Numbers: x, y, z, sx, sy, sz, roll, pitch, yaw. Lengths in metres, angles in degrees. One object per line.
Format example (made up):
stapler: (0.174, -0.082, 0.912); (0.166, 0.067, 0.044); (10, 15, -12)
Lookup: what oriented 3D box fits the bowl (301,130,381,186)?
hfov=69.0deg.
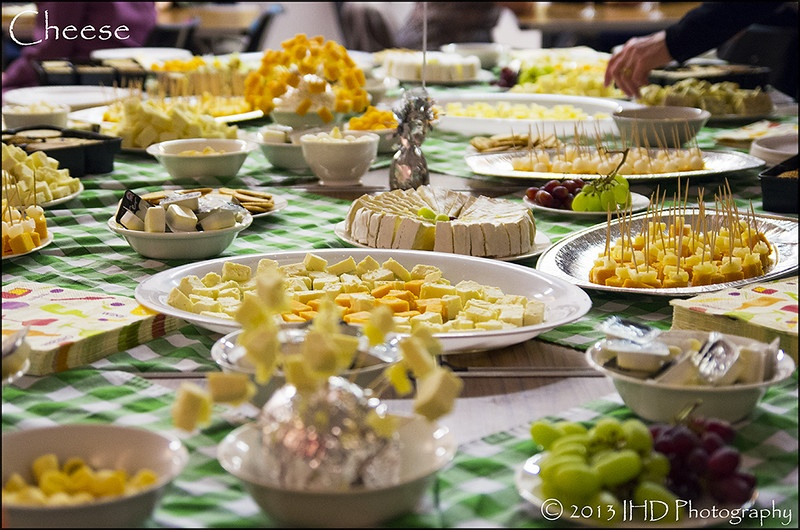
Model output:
bowl: (-0.211, -0.375, 2.103); (0.269, 0.162, 0.255); (-1, 15, 0)

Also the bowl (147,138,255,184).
bowl: (-0.709, -0.382, 2.096); (0.396, 0.132, 0.391); (-4, 13, 1)

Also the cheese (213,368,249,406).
cheese: (-0.187, 0.125, 0.617); (0.039, 0.033, 0.010); (-9, 16, -12)

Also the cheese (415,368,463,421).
cheese: (0.040, 0.136, 0.631); (0.049, 0.060, 0.066); (-2, 15, 1)

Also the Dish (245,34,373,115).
Dish: (-0.350, -0.759, 2.261); (0.425, 0.132, 0.358); (-16, 47, -23)

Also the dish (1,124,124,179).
dish: (-1.212, -0.415, 2.098); (0.280, 0.085, 0.307); (18, 18, 42)

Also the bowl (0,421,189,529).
bowl: (-0.329, 0.197, 0.595); (0.137, 0.045, 0.130); (4, 6, 0)

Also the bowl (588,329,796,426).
bowl: (0.394, 0.162, 0.788); (0.273, 0.123, 0.100); (0, 15, 8)

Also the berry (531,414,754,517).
berry: (0.262, 0.198, 0.628); (0.168, 0.051, 0.117); (3, -1, 6)

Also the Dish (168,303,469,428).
Dish: (-0.085, 0.105, 0.607); (0.229, 0.058, 0.166); (-7, 52, -24)
